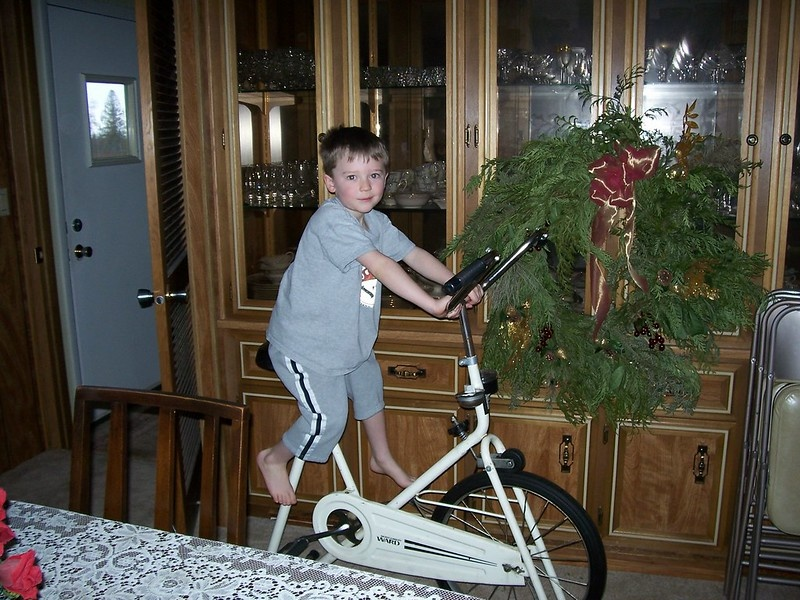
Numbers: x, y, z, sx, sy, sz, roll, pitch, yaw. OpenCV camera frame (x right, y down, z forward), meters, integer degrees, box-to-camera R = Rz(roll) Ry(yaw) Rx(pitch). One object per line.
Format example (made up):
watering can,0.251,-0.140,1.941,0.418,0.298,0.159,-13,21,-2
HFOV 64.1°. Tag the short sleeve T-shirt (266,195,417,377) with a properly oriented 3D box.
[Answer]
short sleeve T-shirt,-0.251,-0.137,2.543,0.541,0.754,0.566,14,10,15
